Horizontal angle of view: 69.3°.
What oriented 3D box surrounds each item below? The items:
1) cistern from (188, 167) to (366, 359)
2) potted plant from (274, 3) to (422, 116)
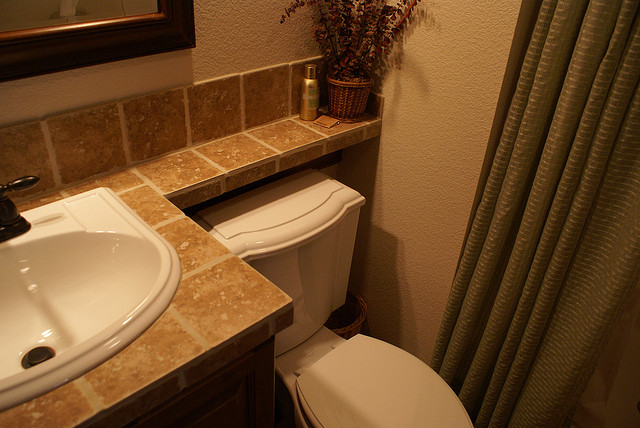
[{"bbox_3d":[-0.093,0.130,1.828,0.584,0.632,0.608,-23,49,-24],"label":"cistern"},{"bbox_3d":[0.097,-0.550,1.615,0.397,0.393,0.152,6,50,15],"label":"potted plant"}]
